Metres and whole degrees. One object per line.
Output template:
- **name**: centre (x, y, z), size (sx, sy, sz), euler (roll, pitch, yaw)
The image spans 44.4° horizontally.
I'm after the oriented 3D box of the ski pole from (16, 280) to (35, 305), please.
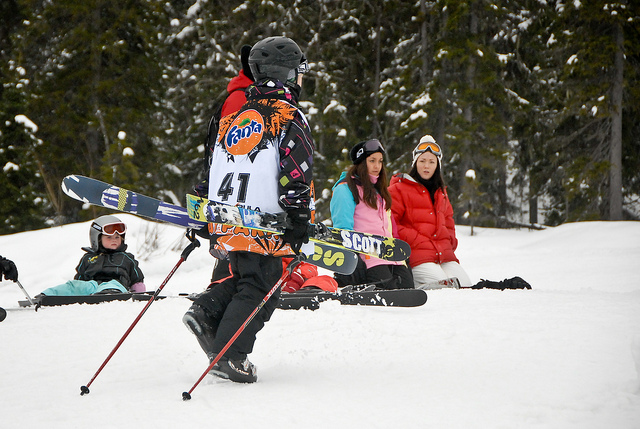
- **ski pole**: centre (-5.298, 1.398, 14.003), size (0.093, 0.697, 0.073), euler (-41, 45, -19)
